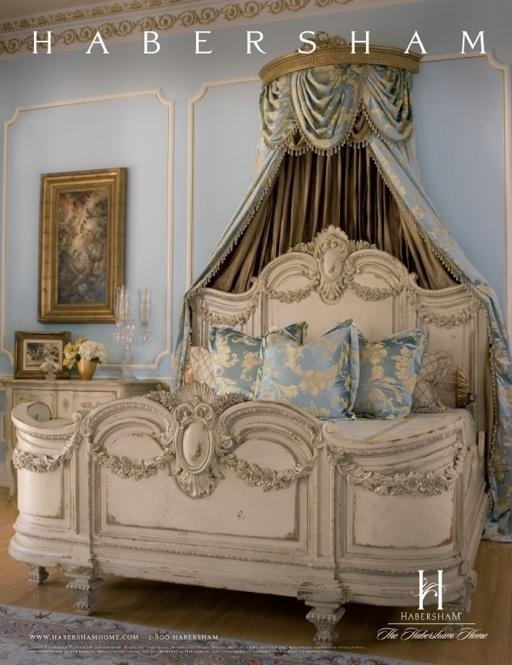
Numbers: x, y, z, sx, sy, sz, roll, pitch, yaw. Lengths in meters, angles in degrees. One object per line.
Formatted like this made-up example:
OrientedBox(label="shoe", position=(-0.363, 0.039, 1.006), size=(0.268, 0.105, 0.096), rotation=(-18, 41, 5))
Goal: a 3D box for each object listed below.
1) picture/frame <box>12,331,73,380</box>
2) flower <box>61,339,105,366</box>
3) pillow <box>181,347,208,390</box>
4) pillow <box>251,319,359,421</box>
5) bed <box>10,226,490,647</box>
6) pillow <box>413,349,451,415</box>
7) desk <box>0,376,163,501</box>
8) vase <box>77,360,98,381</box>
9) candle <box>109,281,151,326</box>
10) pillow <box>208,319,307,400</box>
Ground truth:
OrientedBox(label="picture/frame", position=(-1.319, 0.146, 5.496), size=(0.309, 0.255, 0.030), rotation=(-1, -11, 6))
OrientedBox(label="flower", position=(-1.030, 0.108, 5.255), size=(0.199, 0.141, 0.196), rotation=(2, 5, 17))
OrientedBox(label="pillow", position=(-0.312, 0.179, 4.739), size=(0.061, 0.183, 0.195), rotation=(7, -13, -4))
OrientedBox(label="pillow", position=(0.232, 0.164, 3.937), size=(0.487, 0.440, 0.185), rotation=(0, -10, 23))
OrientedBox(label="bed", position=(0.191, 0.470, 4.080), size=(1.880, 1.521, 1.831), rotation=(-1, -2, 22))
OrientedBox(label="pillow", position=(0.825, 0.241, 4.211), size=(0.078, 0.250, 0.222), rotation=(7, -13, 25))
OrientedBox(label="desk", position=(-0.745, 0.457, 3.874), size=(0.813, 0.545, 0.310), rotation=(-1, -3, 14))
OrientedBox(label="vase", position=(-1.003, 0.220, 5.269), size=(0.112, 0.094, 0.120), rotation=(-1, -7, 4))
OrientedBox(label="candle", position=(-0.746, -0.169, 5.341), size=(0.246, 0.329, 0.241), rotation=(2, -1, 22))
OrientedBox(label="pillow", position=(-0.042, 0.133, 4.353), size=(0.374, 0.380, 0.119), rotation=(1, -20, 32))
